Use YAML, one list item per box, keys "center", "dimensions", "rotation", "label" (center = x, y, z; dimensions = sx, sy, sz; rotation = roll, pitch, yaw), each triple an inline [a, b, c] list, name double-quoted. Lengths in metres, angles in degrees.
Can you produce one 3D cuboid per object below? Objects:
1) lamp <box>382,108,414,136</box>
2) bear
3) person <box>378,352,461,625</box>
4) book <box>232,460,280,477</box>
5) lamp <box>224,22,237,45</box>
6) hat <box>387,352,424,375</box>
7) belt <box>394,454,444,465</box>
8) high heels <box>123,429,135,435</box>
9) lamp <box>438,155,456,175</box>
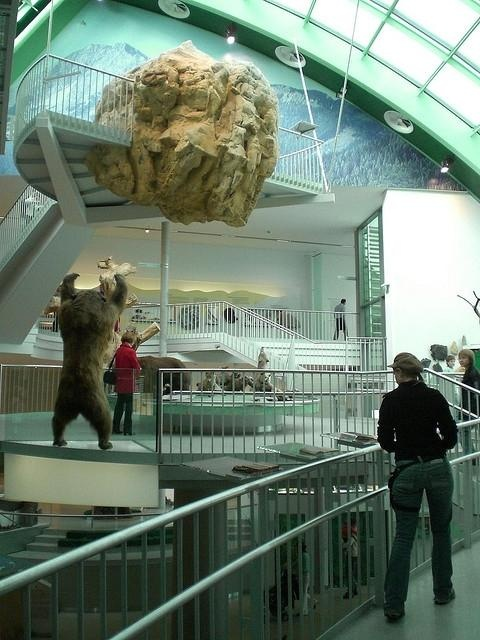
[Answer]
- center: [4.943, -6.315, 18.300]
  dimensions: [1.012, 0.262, 1.021]
  rotation: [37, 9, 27]
  label: "lamp"
- center: [-2.207, 0.487, 8.377]
  dimensions: [0.891, 2.138, 2.043]
  rotation: [3, 36, -5]
  label: "bear"
- center: [1.065, 0.958, 3.464]
  dimensions: [0.449, 1.515, 0.324]
  rotation: [1, -5, 9]
  label: "person"
- center: [0.102, 0.993, 3.878]
  dimensions: [0.308, 0.051, 0.220]
  rotation: [1, -4, -1]
  label: "book"
- center: [-0.329, -9.629, 19.368]
  dimensions: [0.254, 0.490, 0.207]
  rotation: [18, -41, -21]
  label: "lamp"
- center: [1.044, 0.264, 3.646]
  dimensions: [0.138, 0.098, 0.190]
  rotation: [11, 1, -22]
  label: "hat"
- center: [1.052, 0.820, 3.421]
  dimensions: [0.133, 0.030, 0.119]
  rotation: [-1, -4, -6]
  label: "belt"
- center: [-1.588, 1.593, 8.246]
  dimensions: [0.161, 0.081, 0.051]
  rotation: [3, -1, 3]
  label: "high heels"
- center: [6.872, -5.122, 19.019]
  dimensions: [0.371, 0.429, 1.114]
  rotation: [34, 30, -3]
  label: "lamp"
